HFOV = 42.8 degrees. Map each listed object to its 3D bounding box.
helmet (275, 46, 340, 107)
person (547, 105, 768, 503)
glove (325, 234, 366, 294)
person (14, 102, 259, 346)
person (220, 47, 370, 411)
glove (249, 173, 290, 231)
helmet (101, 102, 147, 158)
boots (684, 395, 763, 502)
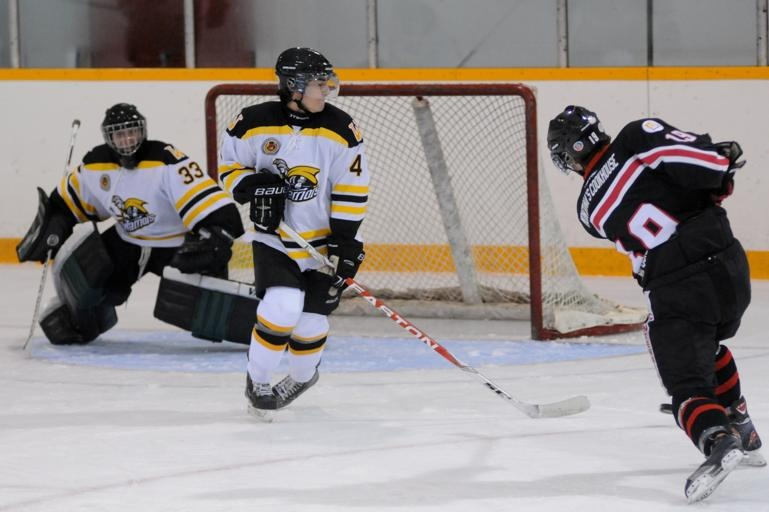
[{"bbox_3d":[-0.356,-0.850,4.578,0.340,0.284,0.251,-1,9,1],"label":"helmet"},{"bbox_3d":[1.173,0.148,4.016,0.510,1.474,0.975,-10,17,-29],"label":"person"},{"bbox_3d":[-0.221,0.037,4.493,0.103,0.220,0.227,22,-4,-22],"label":"glove"},{"bbox_3d":[-1.377,-0.159,5.522,1.448,1.363,1.030,2,9,22],"label":"person"},{"bbox_3d":[-0.401,-0.106,4.553,0.647,1.679,0.472,-6,16,-17],"label":"person"},{"bbox_3d":[-0.535,-0.238,4.374,0.181,0.237,0.103,1,9,-1],"label":"glove"},{"bbox_3d":[-1.416,-0.706,5.345,0.264,0.237,0.292,-9,21,-2],"label":"helmet"},{"bbox_3d":[1.332,0.770,3.877,0.128,0.353,0.259,34,31,-3],"label":"boots"}]
